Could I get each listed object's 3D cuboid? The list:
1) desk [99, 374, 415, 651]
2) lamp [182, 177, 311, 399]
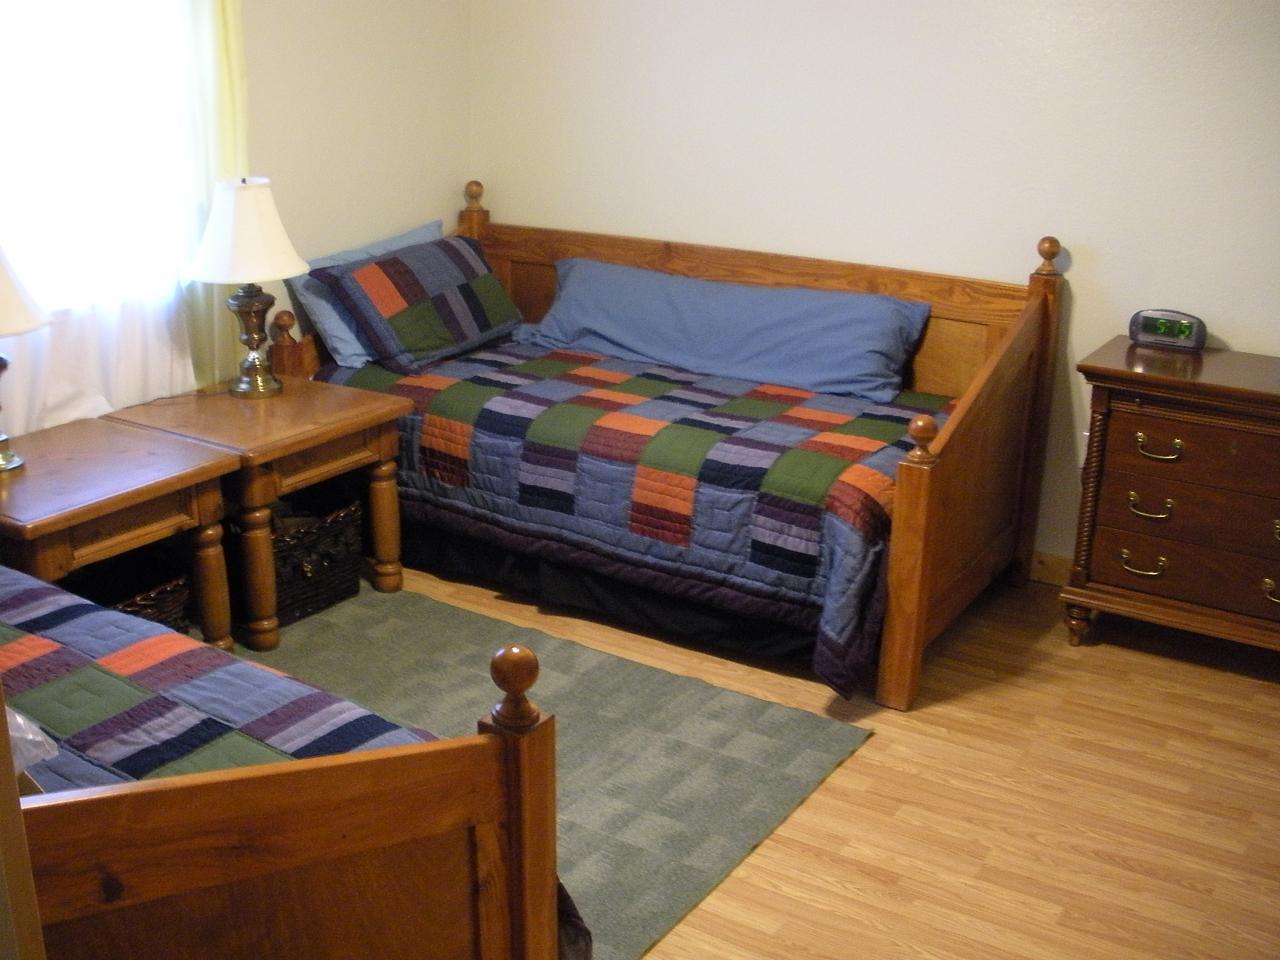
[{"bbox_3d":[-1.288,0.115,3.548,0.973,0.822,0.862,11,20,29],"label":"desk"},{"bbox_3d":[-1.306,-0.642,3.326,0.347,0.680,0.423,-12,26,-25],"label":"lamp"}]
